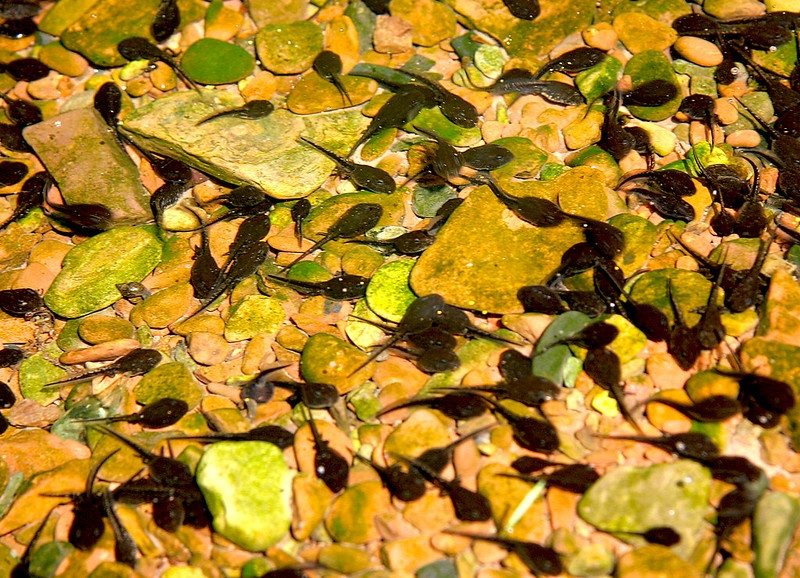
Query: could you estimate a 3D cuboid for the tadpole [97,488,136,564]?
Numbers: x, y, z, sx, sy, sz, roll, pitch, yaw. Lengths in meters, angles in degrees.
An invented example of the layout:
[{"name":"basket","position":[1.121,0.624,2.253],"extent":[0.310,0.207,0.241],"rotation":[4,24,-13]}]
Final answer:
[{"name":"tadpole","position":[-0.918,0.780,2.727],"extent":[0.082,0.092,0.292],"rotation":[-29,64,-8]}]
